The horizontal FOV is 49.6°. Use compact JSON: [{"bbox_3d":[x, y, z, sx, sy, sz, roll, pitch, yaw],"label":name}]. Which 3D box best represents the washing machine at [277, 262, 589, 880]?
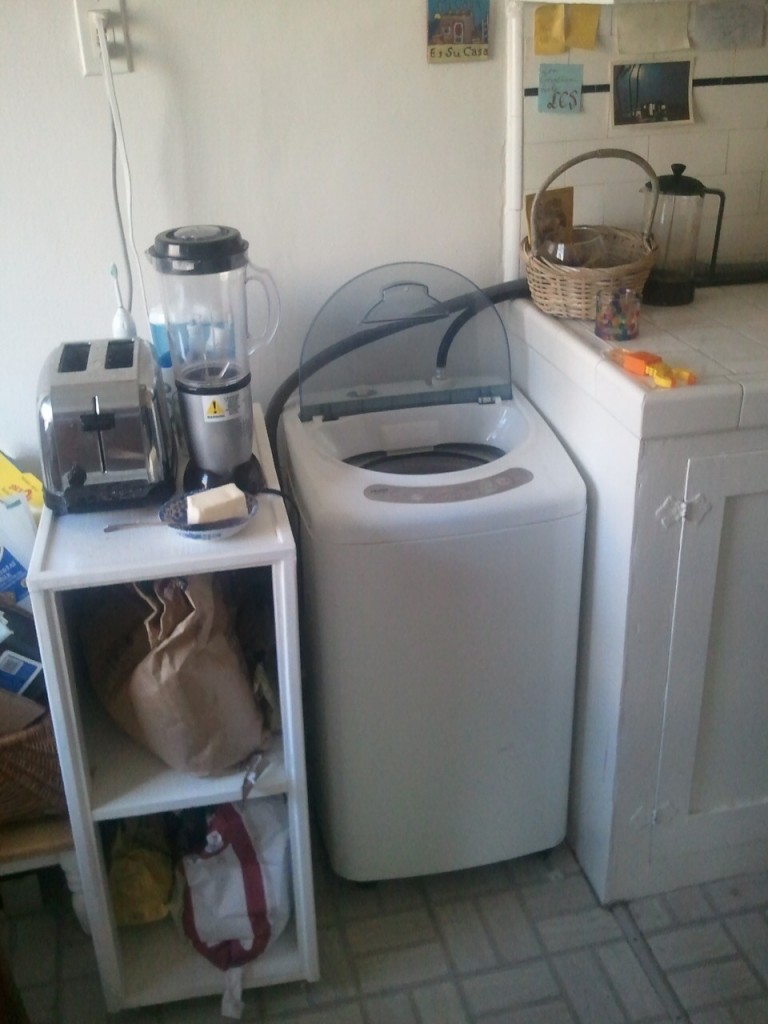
[{"bbox_3d":[0.053,0.088,1.634,0.515,1.238,0.686,-5,27,-10],"label":"washing machine"}]

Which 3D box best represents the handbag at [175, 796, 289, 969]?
[{"bbox_3d":[-0.249,0.636,1.432,0.167,0.256,0.070,-5,-1,7],"label":"handbag"}]

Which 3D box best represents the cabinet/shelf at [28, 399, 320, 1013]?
[{"bbox_3d":[-0.288,0.345,1.444,0.409,0.927,0.448,-7,27,-13],"label":"cabinet/shelf"}]

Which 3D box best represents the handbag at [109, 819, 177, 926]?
[{"bbox_3d":[-0.430,0.640,1.477,0.114,0.047,0.170,5,62,-33],"label":"handbag"}]

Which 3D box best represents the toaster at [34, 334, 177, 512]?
[{"bbox_3d":[-0.381,-0.147,1.267,0.225,0.199,0.368,-7,32,-7],"label":"toaster"}]

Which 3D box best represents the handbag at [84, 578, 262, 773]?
[{"bbox_3d":[-0.329,0.219,1.313,0.222,0.326,0.268,-5,25,-11],"label":"handbag"}]

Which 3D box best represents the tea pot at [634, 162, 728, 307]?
[{"bbox_3d":[0.579,-0.528,1.619,0.144,0.349,0.159,2,26,-1],"label":"tea pot"}]

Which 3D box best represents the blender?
[{"bbox_3d":[-0.243,-0.233,1.263,0.158,0.420,0.181,-9,25,-14],"label":"blender"}]
